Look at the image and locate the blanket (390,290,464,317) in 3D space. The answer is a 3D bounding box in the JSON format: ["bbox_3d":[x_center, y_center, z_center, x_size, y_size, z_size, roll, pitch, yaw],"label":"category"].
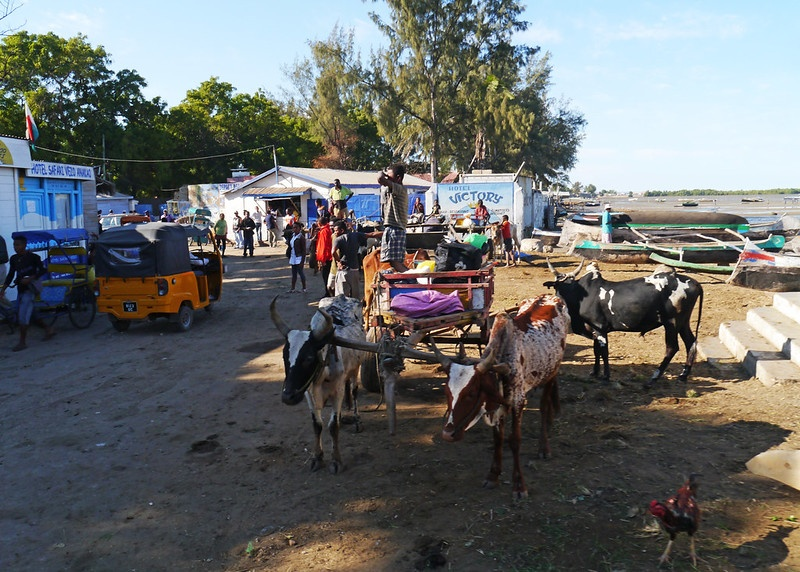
[{"bbox_3d":[0.370,0.233,7.410,0.613,0.169,0.446,-3,4,-15],"label":"blanket"}]

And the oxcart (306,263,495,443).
[{"bbox_3d":[0.501,0.533,8.038,1.908,1.492,3.257,2,13,22],"label":"oxcart"}]

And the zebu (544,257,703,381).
[{"bbox_3d":[3.748,0.588,9.858,2.721,1.879,0.896,1,-5,28],"label":"zebu"}]

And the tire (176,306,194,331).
[{"bbox_3d":[-5.021,0.743,13.320,0.226,0.547,0.598,-1,-6,10],"label":"tire"}]

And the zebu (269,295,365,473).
[{"bbox_3d":[-0.972,1.131,7.450,0.950,2.154,2.154,-2,9,0],"label":"zebu"}]

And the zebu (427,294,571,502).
[{"bbox_3d":[1.268,1.292,6.775,0.811,1.956,2.600,3,10,28],"label":"zebu"}]

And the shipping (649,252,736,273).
[{"bbox_3d":[9.307,-0.671,18.028,2.281,0.465,1.409,5,-5,2],"label":"shipping"}]

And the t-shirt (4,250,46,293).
[{"bbox_3d":[-8.072,-0.300,12.383,0.692,0.900,0.956,-8,11,-35],"label":"t-shirt"}]

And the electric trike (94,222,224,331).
[{"bbox_3d":[-5.494,-0.279,13.212,1.499,2.473,3.271,1,5,17],"label":"electric trike"}]

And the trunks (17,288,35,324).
[{"bbox_3d":[-7.974,0.469,12.240,0.347,0.742,0.309,-8,11,-34],"label":"trunks"}]

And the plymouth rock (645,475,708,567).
[{"bbox_3d":[2.652,2.230,5.530,0.412,0.801,0.501,2,10,24],"label":"plymouth rock"}]
